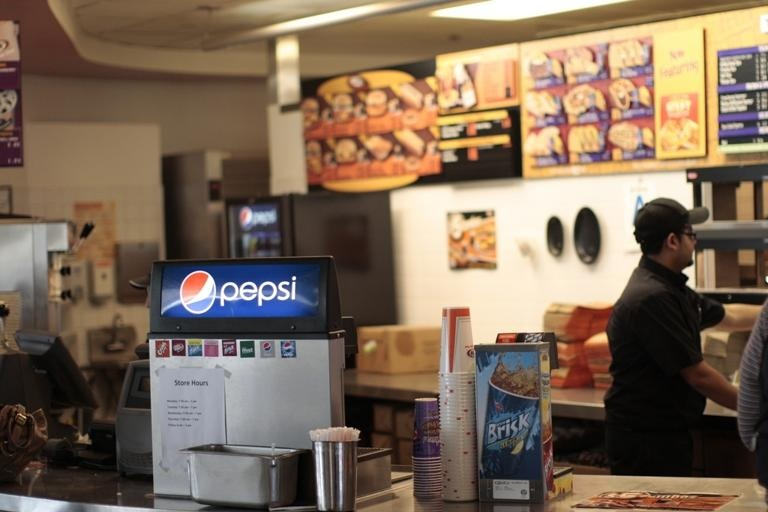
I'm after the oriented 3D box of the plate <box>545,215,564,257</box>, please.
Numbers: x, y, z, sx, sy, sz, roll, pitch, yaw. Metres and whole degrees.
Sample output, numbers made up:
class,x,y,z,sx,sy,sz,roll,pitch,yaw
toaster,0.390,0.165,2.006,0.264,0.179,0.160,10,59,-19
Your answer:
class,x,y,z,sx,sy,sz,roll,pitch,yaw
plate,0.998,-0.114,5.347,0.115,0.211,0.031,0,1,41

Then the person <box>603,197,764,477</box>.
class,x,y,z,sx,sy,sz,roll,pitch,yaw
person,1.228,0.356,4.010,0.544,1.221,0.286,-3,2,11

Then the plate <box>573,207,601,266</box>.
class,x,y,z,sx,sy,sz,roll,pitch,yaw
plate,1.168,-0.111,5.259,0.044,0.283,0.192,-2,1,-39

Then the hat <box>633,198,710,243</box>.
class,x,y,z,sx,sy,sz,roll,pitch,yaw
hat,1.301,-0.163,4.120,0.312,0.151,0.197,-25,13,-2
